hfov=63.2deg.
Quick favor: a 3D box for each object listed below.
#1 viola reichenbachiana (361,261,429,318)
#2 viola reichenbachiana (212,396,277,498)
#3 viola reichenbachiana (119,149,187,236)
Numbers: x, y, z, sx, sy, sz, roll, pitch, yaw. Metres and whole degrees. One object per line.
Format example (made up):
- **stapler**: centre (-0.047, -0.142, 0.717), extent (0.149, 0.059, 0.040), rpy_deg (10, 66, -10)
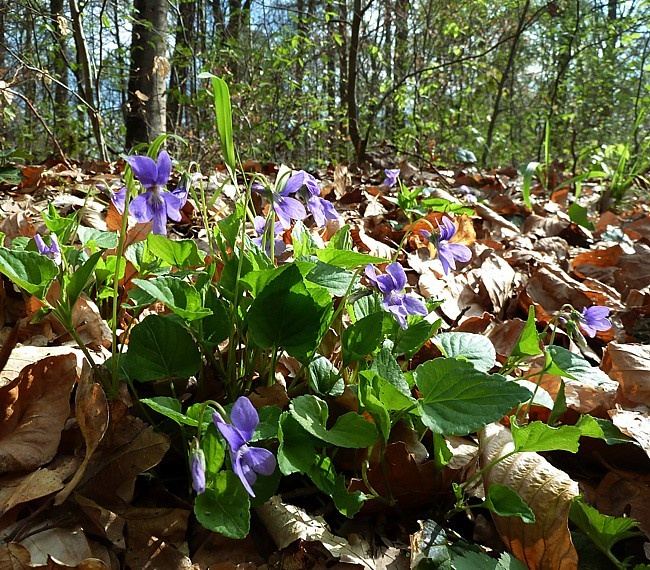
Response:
- **viola reichenbachiana**: centre (0.184, 0.010, 1.451), extent (0.148, 0.136, 0.183), rpy_deg (-12, 28, -40)
- **viola reichenbachiana**: centre (-0.168, 0.338, 1.109), extent (0.144, 0.064, 0.153), rpy_deg (19, 6, -23)
- **viola reichenbachiana**: centre (-0.417, -0.221, 1.295), extent (0.145, 0.222, 0.093), rpy_deg (0, -14, -18)
